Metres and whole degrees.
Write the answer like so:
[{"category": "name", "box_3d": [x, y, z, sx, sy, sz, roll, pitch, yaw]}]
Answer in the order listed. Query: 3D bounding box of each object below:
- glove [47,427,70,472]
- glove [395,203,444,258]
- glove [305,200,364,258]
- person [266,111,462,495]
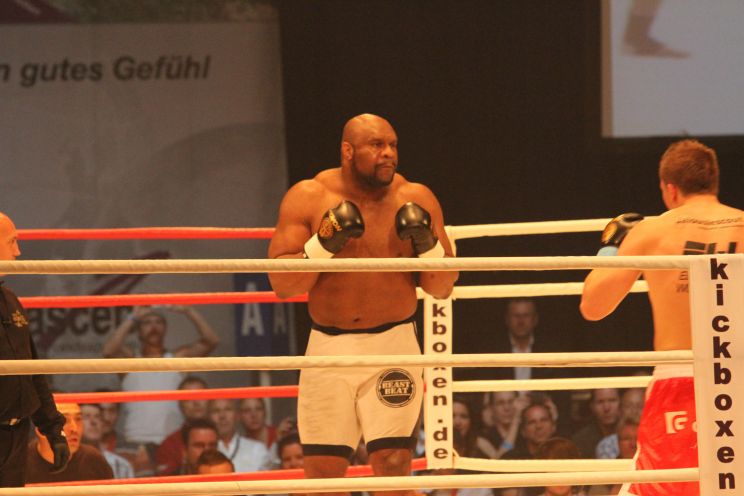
[{"category": "glove", "box_3d": [-1.990, 1.228, 7.154, 0.156, 0.242, 0.064, -9, 1, 6]}, {"category": "glove", "box_3d": [0.246, -0.114, 6.784, 0.275, 0.305, 0.124, 1, -6, 0]}, {"category": "glove", "box_3d": [-0.253, -0.093, 6.780, 0.181, 0.306, 0.169, 44, 6, -34]}, {"category": "person", "box_3d": [-0.099, 0.321, 6.861, 1.106, 2.255, 0.438, 1, -6, -4]}]
